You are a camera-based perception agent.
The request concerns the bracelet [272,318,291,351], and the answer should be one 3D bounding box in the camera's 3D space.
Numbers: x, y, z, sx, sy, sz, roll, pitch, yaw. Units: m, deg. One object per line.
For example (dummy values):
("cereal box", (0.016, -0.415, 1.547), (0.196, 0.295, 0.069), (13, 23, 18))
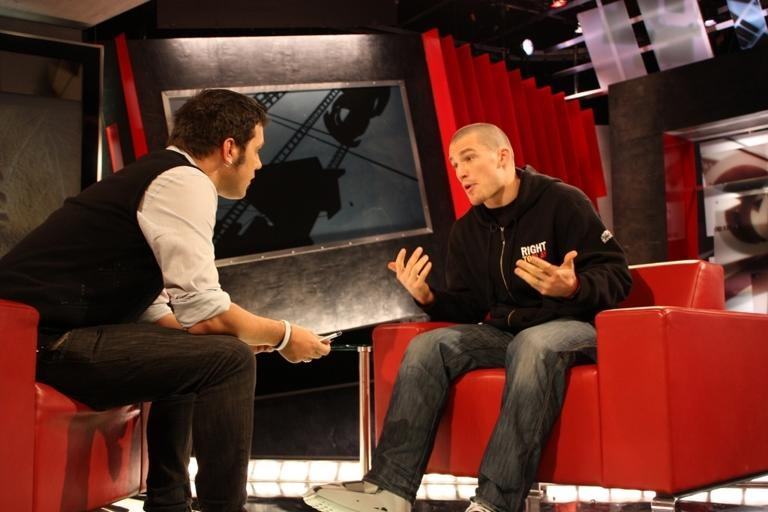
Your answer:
("bracelet", (-0.357, 0.278, 2.176), (0.036, 0.094, 0.086), (3, -14, -24))
